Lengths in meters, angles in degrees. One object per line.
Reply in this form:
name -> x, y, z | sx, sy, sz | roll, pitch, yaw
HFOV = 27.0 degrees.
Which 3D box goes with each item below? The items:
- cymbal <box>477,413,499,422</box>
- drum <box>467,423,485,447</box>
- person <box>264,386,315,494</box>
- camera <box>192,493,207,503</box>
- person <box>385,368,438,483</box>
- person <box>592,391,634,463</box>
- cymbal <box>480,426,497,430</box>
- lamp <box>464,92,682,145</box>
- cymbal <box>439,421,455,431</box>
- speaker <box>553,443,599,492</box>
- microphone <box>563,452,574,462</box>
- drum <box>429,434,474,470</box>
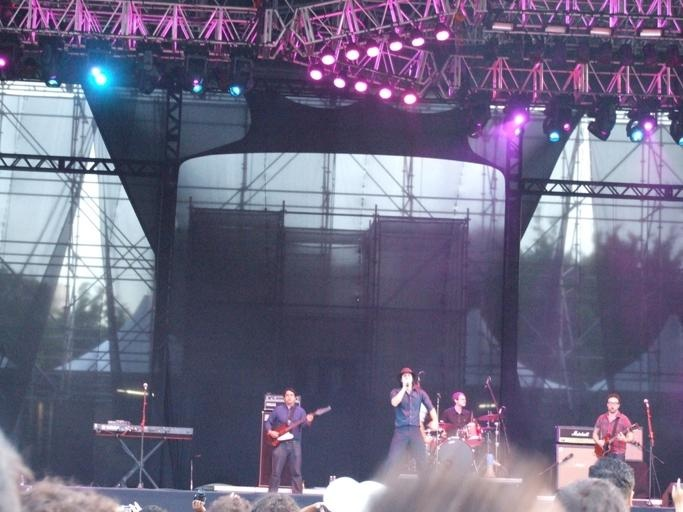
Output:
cymbal -> 2.856, 3.140, 27.798 | 0.256, 0.093, 0.265 | -6, -2, -17
drum -> 2.514, 3.387, 26.567 | 0.363, 0.374, 0.396 | -2, -41, 2
person -> -1.009, 3.507, 26.340 | 0.852, 2.040, 0.547 | 2, 5, 4
camera -> -2.266, 3.794, 22.500 | 0.215, 0.158, 0.314 | -3, -6, 2
person -> 1.222, 2.977, 25.600 | 0.811, 2.218, 0.743 | 2, -5, -17
person -> 5.007, 3.168, 25.830 | 0.677, 1.720, 0.616 | -7, -8, 39
cymbal -> 2.810, 3.315, 27.431 | 0.175, 0.048, 0.182 | 2, -11, -14
lamp -> 4.741, -2.726, 28.824 | 4.066, 1.006, 1.735 | 2, -1, 1
cymbal -> 2.000, 3.250, 27.052 | 0.287, 0.212, 0.872 | 2, -1, 5
speaker -> 4.404, 3.935, 26.965 | 0.872, 1.330, 1.045 | -1, -7, 10
microphone -> 4.298, 3.802, 27.013 | 0.304, 0.086, 0.080 | -36, 5, -13
drum -> 1.819, 3.234, 23.557 | 0.703, 0.799, 0.774 | 11, -6, 2
